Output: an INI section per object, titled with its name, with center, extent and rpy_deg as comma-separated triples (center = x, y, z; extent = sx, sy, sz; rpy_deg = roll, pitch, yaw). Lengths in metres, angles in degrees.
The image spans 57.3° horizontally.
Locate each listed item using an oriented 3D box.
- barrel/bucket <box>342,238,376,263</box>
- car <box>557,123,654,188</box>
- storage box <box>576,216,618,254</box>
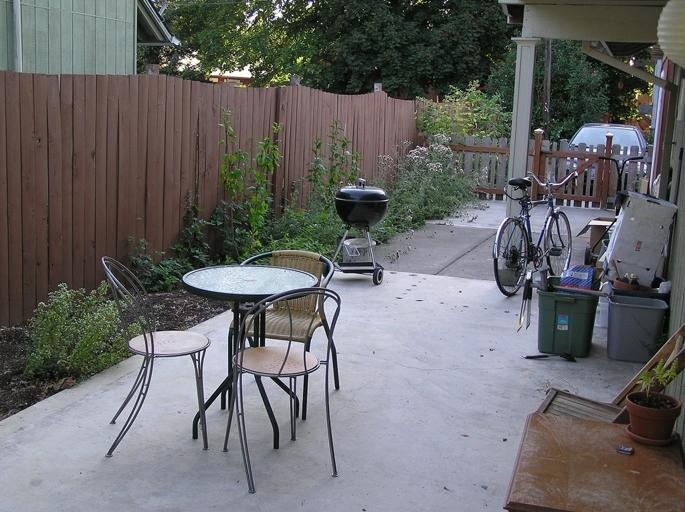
[barrel/bucket]
center = 0.184, -0.071, 7.594
extent = 0.291, 0.373, 0.305
rpy_deg = -1, 14, 0
[car]
center = 6.232, -2.407, 14.705
extent = 1.744, 1.402, 2.472
rpy_deg = 3, 11, 10
[storage box]
center = 3.524, -0.352, 8.453
extent = 0.386, 0.297, 0.466
rpy_deg = -8, -2, -16
